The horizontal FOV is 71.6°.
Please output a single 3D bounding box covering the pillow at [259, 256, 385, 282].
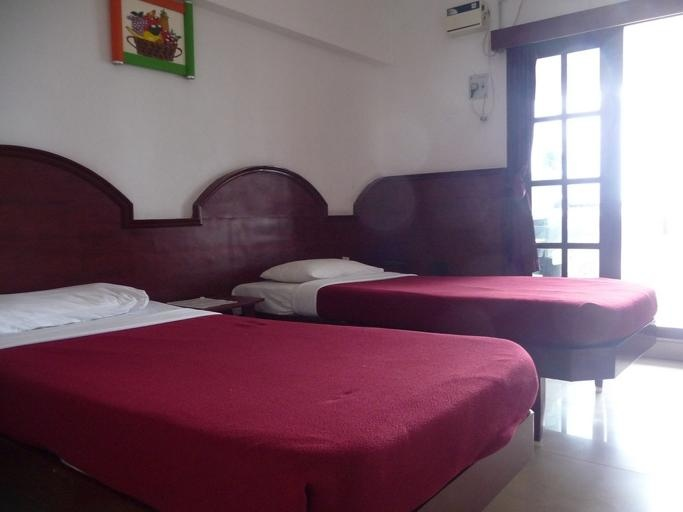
[{"bbox_3d":[-0.121,0.101,3.780,0.605,0.133,0.366,-6,2,-39],"label":"pillow"}]
